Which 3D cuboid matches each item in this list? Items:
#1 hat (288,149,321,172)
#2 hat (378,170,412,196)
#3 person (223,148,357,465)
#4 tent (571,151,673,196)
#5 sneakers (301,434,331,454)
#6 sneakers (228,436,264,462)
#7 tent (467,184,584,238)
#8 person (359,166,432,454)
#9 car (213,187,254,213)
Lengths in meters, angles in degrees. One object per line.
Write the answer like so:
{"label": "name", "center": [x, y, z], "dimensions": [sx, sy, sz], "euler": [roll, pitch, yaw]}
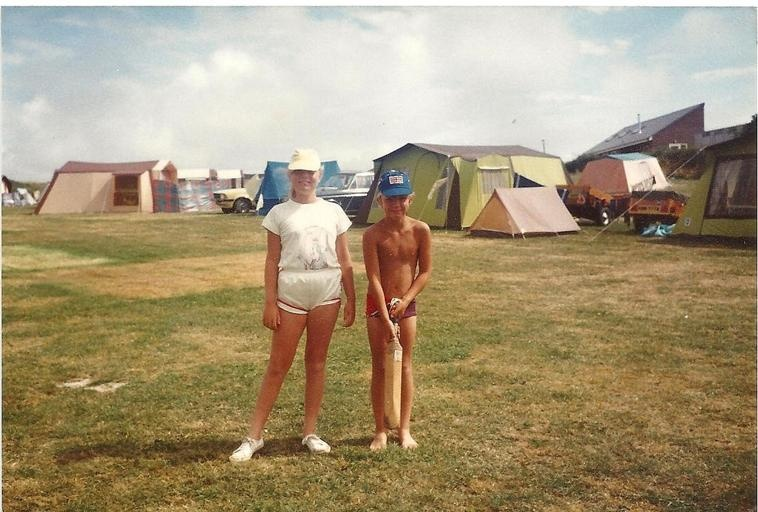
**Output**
{"label": "hat", "center": [-0.699, -0.901, 5.056], "dimensions": [0.302, 0.208, 0.198], "euler": [0, 5, -8]}
{"label": "hat", "center": [0.162, -0.709, 5.267], "dimensions": [0.317, 0.250, 0.252], "euler": [1, 5, -1]}
{"label": "person", "center": [-0.765, 0.464, 5.141], "dimensions": [1.046, 2.932, 0.345], "euler": [0, 5, -9]}
{"label": "tent", "center": [8.680, -2.932, 18.845], "dimensions": [3.448, 1.128, 2.471], "euler": [-17, 15, -41]}
{"label": "sneakers", "center": [-0.608, 1.825, 5.215], "dimensions": [0.148, 0.098, 0.241], "euler": [-5, 6, -37]}
{"label": "sneakers", "center": [-1.252, 1.834, 5.170], "dimensions": [0.362, 0.146, 0.144], "euler": [-13, 5, -38]}
{"label": "tent", "center": [4.563, -1.480, 16.849], "dimensions": [3.178, 1.283, 2.380], "euler": [-3, 8, -27]}
{"label": "person", "center": [0.168, 0.518, 5.284], "dimensions": [0.664, 2.691, 0.479], "euler": [0, 5, -2]}
{"label": "car", "center": [-6.526, -2.496, 24.337], "dimensions": [0.980, 0.625, 1.640], "euler": [-2, 0, 28]}
